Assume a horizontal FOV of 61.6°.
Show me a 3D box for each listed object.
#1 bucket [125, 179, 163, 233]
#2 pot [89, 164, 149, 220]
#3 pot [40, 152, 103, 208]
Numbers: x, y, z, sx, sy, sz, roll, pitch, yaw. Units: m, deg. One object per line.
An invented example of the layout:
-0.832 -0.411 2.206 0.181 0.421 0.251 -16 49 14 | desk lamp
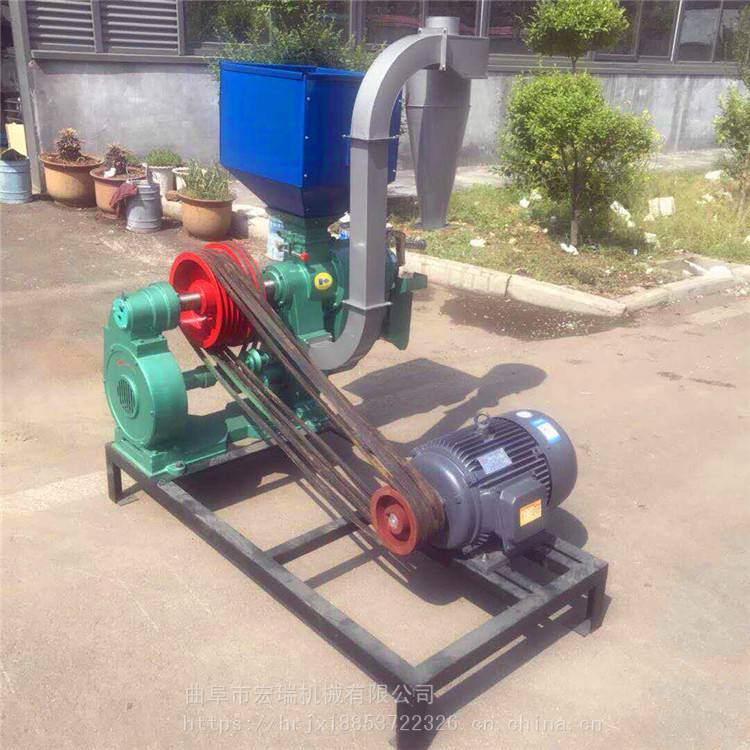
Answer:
-3.386 -2.540 9.435 0.587 0.722 0.561 6 22 -3 | bucket
-4.151 -2.921 10.039 0.737 0.699 0.808 11 27 -6 | pot
-4.925 -3.233 10.299 0.771 0.595 0.878 22 19 -5 | pot
